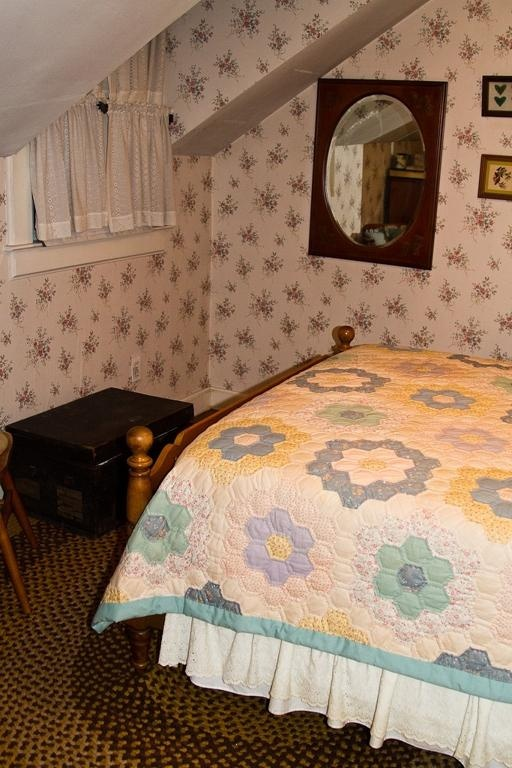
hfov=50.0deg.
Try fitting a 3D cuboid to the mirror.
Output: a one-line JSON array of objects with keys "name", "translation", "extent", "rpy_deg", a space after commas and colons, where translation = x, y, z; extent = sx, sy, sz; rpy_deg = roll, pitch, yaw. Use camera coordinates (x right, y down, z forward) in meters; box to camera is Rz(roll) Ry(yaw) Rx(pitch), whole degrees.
[{"name": "mirror", "translation": [0.706, -1.236, 3.156], "extent": [0.887, 1.262, 0.057], "rpy_deg": [13, 23, 29]}]

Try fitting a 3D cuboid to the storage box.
[{"name": "storage box", "translation": [-0.671, 0.160, 2.241], "extent": [0.482, 0.368, 0.693], "rpy_deg": [11, 19, 22]}]
